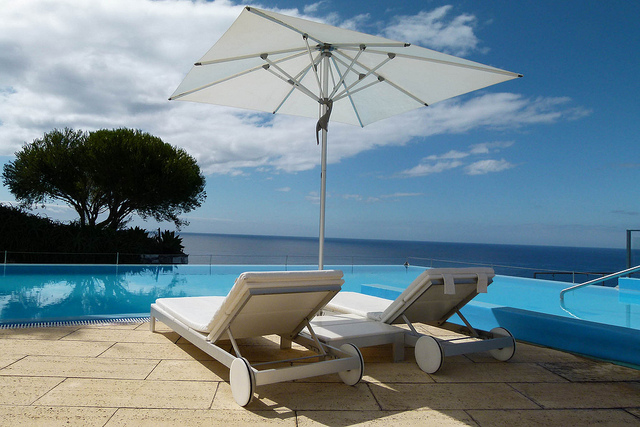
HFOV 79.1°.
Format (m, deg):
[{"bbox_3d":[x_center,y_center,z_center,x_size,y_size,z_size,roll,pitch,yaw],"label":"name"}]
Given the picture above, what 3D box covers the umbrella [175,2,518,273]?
[{"bbox_3d":[0.042,-1.491,6.909,4.997,3.824,4.659,5,-16,-13],"label":"umbrella"}]
